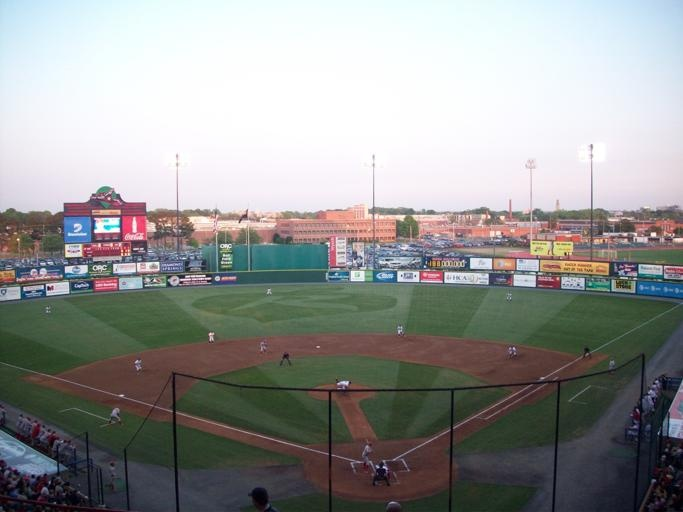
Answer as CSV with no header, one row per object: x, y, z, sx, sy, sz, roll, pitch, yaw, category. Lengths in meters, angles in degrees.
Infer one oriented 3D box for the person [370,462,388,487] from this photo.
2.549,12.834,43.464,1.226,1.300,1.219,1,2,2,person

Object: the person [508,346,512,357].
14.092,7.967,60.620,0.418,0.696,1.065,-3,3,13,person
